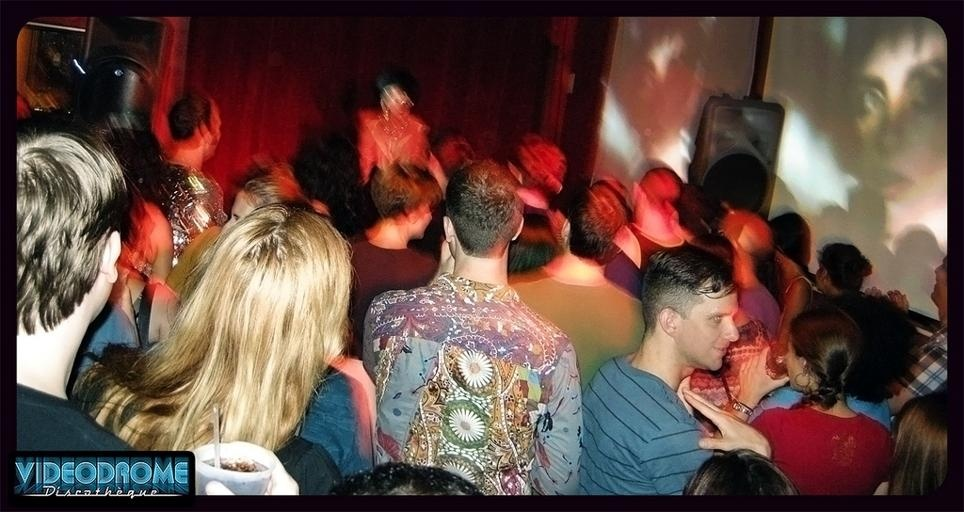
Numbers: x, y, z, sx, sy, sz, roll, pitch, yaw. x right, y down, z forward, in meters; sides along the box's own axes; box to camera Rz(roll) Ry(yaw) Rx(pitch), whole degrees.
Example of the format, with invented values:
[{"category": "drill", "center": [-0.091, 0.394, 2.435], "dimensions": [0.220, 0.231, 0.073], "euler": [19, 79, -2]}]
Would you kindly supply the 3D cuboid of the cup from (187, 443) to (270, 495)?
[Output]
[{"category": "cup", "center": [-1.405, 1.171, 3.790], "dimensions": [0.384, 0.231, 0.300], "euler": [7, 11, -23]}]
